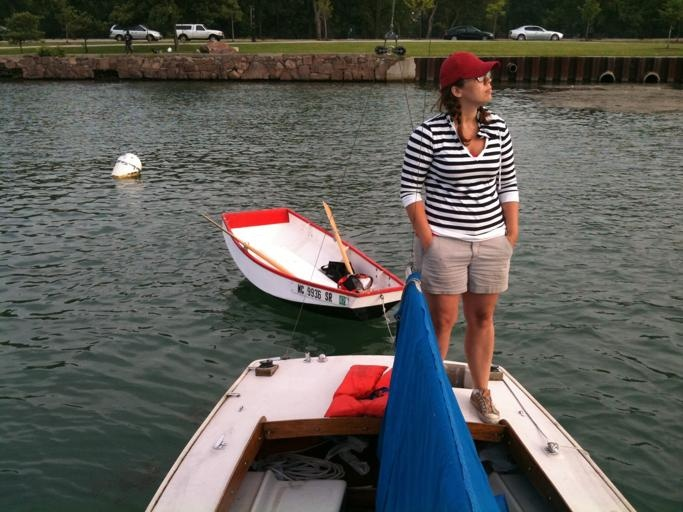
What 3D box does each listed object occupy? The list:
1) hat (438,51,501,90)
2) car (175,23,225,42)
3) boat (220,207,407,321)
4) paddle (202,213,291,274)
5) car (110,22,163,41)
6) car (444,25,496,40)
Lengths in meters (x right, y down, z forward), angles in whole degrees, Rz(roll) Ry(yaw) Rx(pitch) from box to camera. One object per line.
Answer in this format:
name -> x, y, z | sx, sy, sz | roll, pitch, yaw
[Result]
hat -> 1.298, -1.898, 7.270 | 0.590, 0.364, 0.325 | -1, 18, 5
car -> -10.719, -17.376, 56.170 | 4.750, 1.199, 1.611 | -2, 34, -4
boat -> -0.691, 0.266, 13.090 | 1.900, 0.770, 3.717 | -20, 32, -36
paddle -> -1.819, -0.227, 13.961 | 2.897, 0.195, 0.138 | 26, 46, 27
car -> -16.803, -18.133, 57.928 | 2.648, 1.536, 6.598 | -12, 17, -32
car -> 10.700, -18.868, 60.365 | 4.456, 0.971, 1.443 | -2, 28, -1
